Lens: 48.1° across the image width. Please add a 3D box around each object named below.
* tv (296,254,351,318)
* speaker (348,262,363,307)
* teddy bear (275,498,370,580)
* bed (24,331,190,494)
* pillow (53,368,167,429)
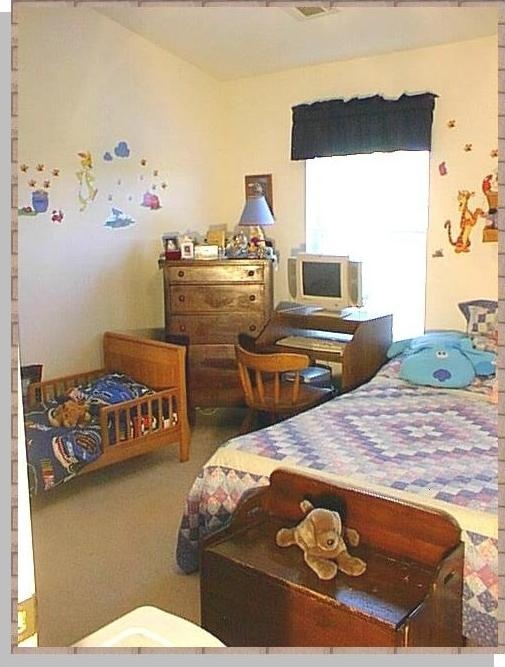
[{"bbox_3d":[0.321,-0.218,2.510,0.214,0.211,0.124,11,38,29],"label":"tv"},{"bbox_3d":[0.445,-0.212,2.458,0.071,0.205,0.049,10,17,37],"label":"speaker"},{"bbox_3d":[0.176,0.513,1.460,0.189,0.119,0.271,-10,22,-28],"label":"teddy bear"},{"bbox_3d":[-0.570,0.278,2.060,0.448,0.398,0.600,11,10,23],"label":"bed"},{"bbox_3d":[-0.541,0.214,1.954,0.143,0.081,0.249,18,27,39],"label":"pillow"}]
